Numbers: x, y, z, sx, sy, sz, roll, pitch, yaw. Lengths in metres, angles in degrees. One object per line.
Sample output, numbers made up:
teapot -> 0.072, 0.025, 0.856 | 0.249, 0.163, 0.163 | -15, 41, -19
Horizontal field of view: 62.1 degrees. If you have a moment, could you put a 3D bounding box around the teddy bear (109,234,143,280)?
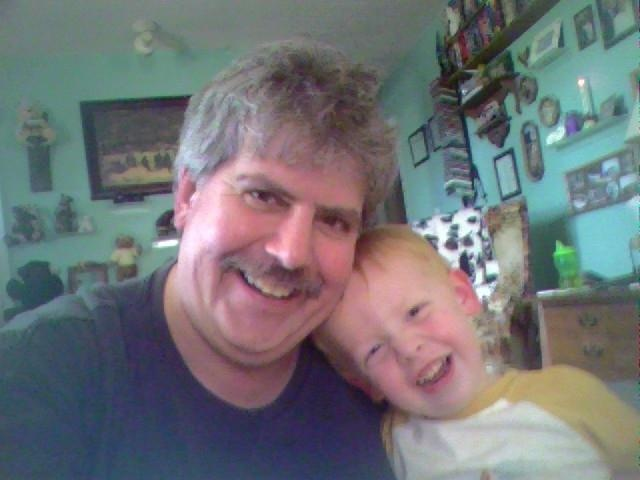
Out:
teddy bear -> -1.229, 0.117, 3.386 | 0.179, 0.396, 0.129 | -10, -15, -4

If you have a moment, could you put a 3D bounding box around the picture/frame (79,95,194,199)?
picture/frame -> -1.115, -0.583, 3.211 | 0.625, 0.828, 0.066 | -3, 9, -16

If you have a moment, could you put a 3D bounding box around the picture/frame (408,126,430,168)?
picture/frame -> 0.649, -0.611, 3.529 | 0.141, 0.265, 0.110 | -3, -3, 18

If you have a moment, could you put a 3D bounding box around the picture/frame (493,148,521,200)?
picture/frame -> 1.226, -0.427, 3.519 | 0.062, 0.334, 0.202 | 0, -3, -28

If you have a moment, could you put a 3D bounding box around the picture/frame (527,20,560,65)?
picture/frame -> 1.367, -1.202, 3.256 | 0.048, 0.193, 0.184 | 16, -17, -17

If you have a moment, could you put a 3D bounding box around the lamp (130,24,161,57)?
lamp -> -1.091, -1.274, 3.319 | 0.149, 0.077, 0.210 | 6, 37, 7

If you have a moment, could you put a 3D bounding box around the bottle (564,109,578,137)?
bottle -> 1.491, -0.689, 3.162 | 0.035, 0.128, 0.064 | 4, 2, -41
